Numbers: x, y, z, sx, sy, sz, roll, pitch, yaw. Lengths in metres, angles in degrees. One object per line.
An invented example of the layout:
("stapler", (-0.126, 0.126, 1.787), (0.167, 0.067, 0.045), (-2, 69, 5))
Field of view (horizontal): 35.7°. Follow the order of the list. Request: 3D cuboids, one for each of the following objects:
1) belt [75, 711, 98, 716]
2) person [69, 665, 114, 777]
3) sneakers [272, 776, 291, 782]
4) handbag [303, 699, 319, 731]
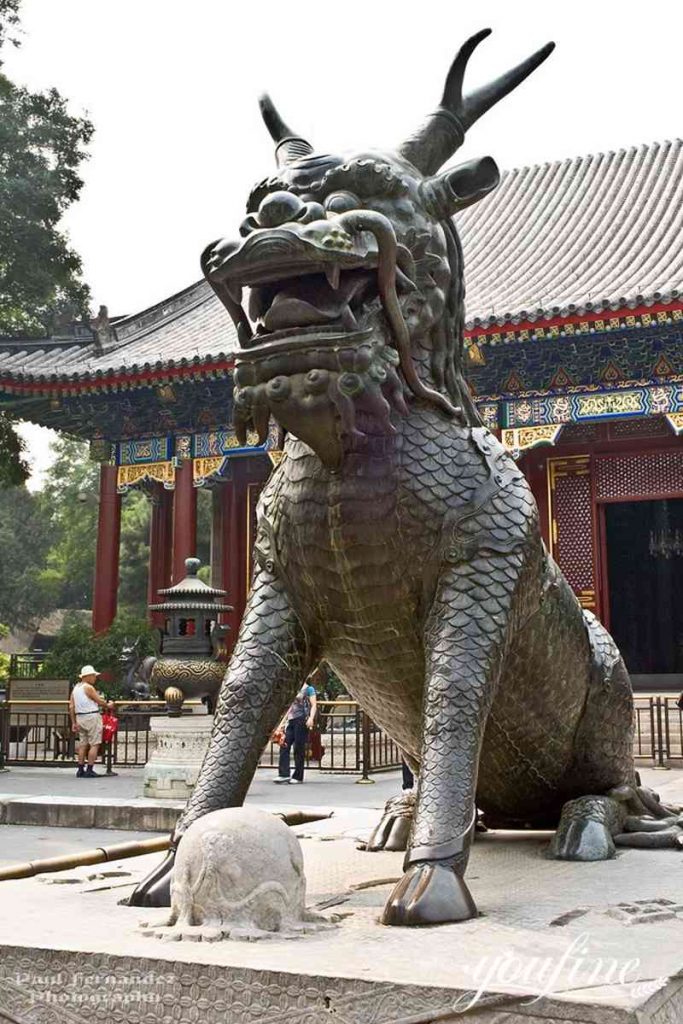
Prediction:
("belt", (-2.353, 1.863, 9.881), (0.192, 0.048, 0.056), (4, -8, -20))
("person", (-2.389, 1.976, 10.115), (0.344, 0.996, 1.002), (3, -8, -13))
("sneakers", (-0.515, 2.306, 9.168), (0.063, 0.069, 0.173), (-5, -18, 29))
("handbag", (-0.251, 1.821, 9.530), (0.090, 0.236, 0.179), (31, -47, -19))
